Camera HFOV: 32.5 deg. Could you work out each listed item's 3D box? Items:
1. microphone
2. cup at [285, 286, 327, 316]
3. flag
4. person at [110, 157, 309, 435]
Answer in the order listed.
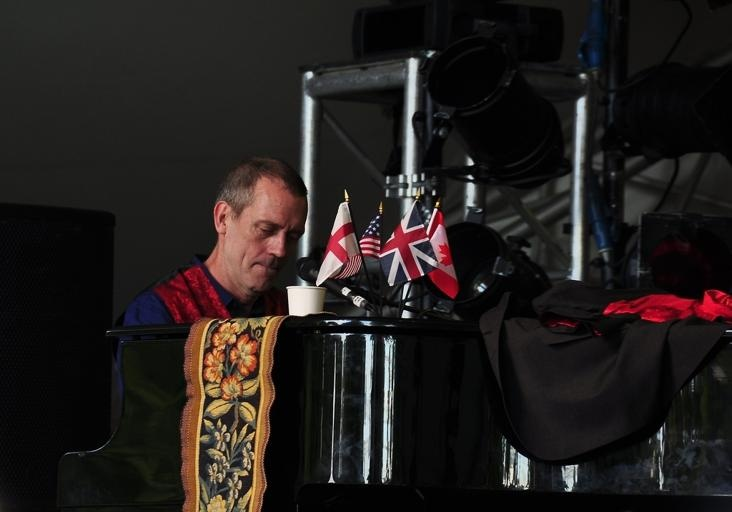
[{"bbox_3d":[-0.124,0.112,4.787,0.397,0.128,0.090,25,-8,29],"label":"microphone"},{"bbox_3d":[-0.236,0.172,4.767,0.127,0.087,0.115,2,-5,-21],"label":"cup"},{"bbox_3d":[0.083,-0.018,5.247,0.567,0.463,0.248,5,-22,18],"label":"flag"},{"bbox_3d":[-0.629,-0.065,5.213,0.705,0.697,0.494,1,-2,-12],"label":"person"}]
